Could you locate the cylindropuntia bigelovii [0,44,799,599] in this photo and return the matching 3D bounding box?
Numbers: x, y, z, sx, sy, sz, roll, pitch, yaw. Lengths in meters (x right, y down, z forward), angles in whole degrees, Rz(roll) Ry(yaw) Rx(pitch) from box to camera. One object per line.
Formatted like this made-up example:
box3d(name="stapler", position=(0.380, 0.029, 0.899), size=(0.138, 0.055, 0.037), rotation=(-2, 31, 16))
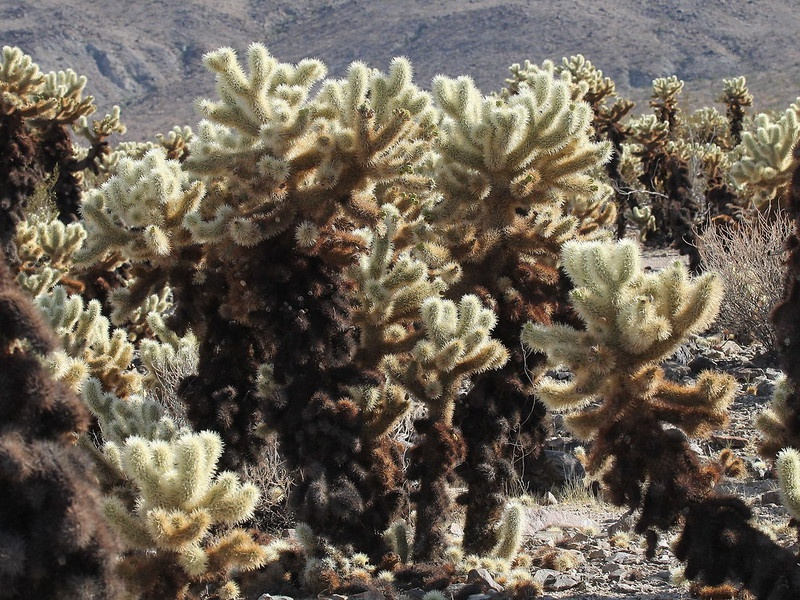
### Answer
box3d(name="cylindropuntia bigelovii", position=(-0.236, 0.202, 8.500), size=(4.754, 3.713, 2.978), rotation=(-2, 20, 0))
